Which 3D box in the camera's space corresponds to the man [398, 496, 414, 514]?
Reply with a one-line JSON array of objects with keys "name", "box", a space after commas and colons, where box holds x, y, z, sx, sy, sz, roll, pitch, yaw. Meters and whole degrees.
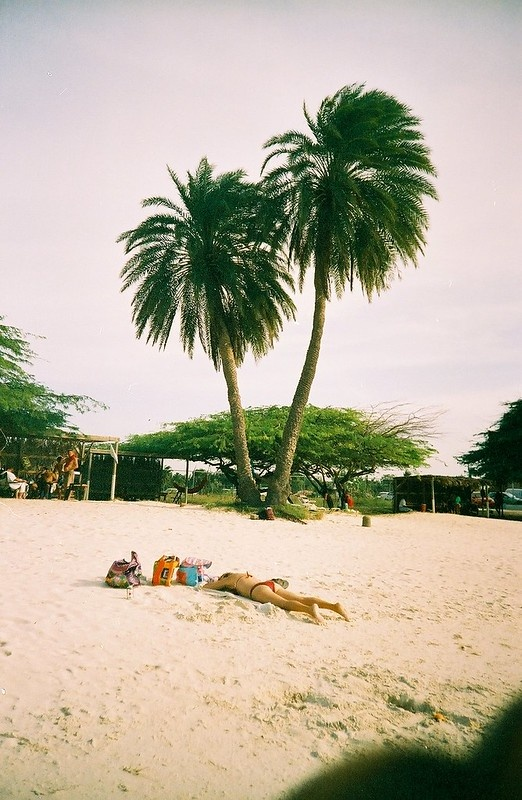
[{"name": "man", "box": [6.757, 5.057, 23.948, 0.492, 0.662, 0.626, -8, 5, -8]}]

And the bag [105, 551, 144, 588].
[{"name": "bag", "box": [-1.727, 2.156, 6.420, 0.377, 0.440, 0.368, -6, -10, 15]}]

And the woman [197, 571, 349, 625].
[{"name": "woman", "box": [0.159, 2.370, 6.108, 1.324, 0.351, 0.644, 14, -12, 44]}]

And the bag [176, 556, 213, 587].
[{"name": "bag", "box": [-0.898, 2.289, 6.691, 0.299, 0.330, 0.293, -9, -13, 27]}]

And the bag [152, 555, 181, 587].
[{"name": "bag", "box": [-1.232, 2.237, 6.581, 0.236, 0.125, 0.340, -8, 4, 7]}]
